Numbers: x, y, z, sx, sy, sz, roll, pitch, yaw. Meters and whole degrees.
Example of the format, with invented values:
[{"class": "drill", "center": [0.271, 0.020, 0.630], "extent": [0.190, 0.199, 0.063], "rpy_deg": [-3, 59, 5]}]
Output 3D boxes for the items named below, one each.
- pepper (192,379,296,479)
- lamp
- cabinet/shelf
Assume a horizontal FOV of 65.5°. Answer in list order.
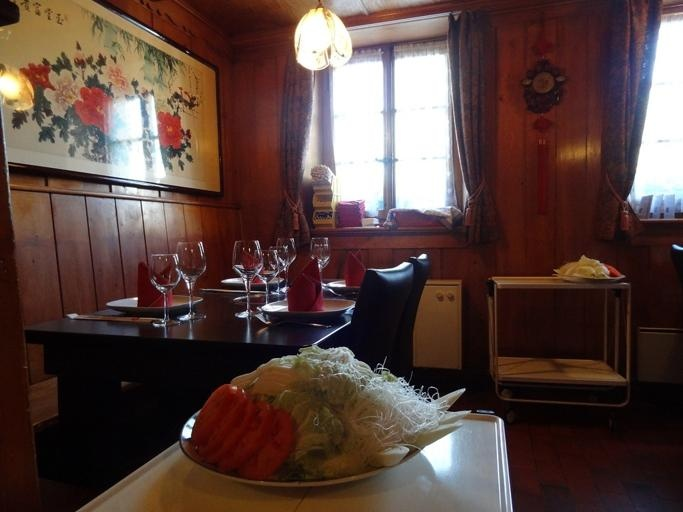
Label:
[{"class": "pepper", "center": [-0.235, 0.430, 1.308], "extent": [0.232, 0.171, 0.073], "rpy_deg": [28, -4, 11]}, {"class": "lamp", "center": [-0.111, -1.182, 2.858], "extent": [0.249, 0.297, 0.222], "rpy_deg": [6, 13, 38]}, {"class": "cabinet/shelf", "center": [0.560, 0.492, 3.690], "extent": [0.568, 0.595, 0.302], "rpy_deg": [8, -10, -44]}]
